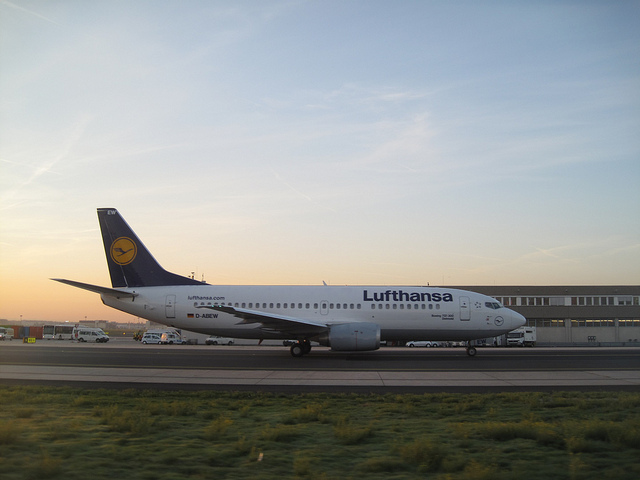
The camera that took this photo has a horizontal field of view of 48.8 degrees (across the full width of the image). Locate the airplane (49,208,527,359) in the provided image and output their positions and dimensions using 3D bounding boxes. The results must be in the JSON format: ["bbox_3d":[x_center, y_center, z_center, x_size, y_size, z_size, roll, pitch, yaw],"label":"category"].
[{"bbox_3d":[-0.788,2.029,37.482,23.853,8.208,6.316,-1,-4,-5],"label":"airplane"}]
